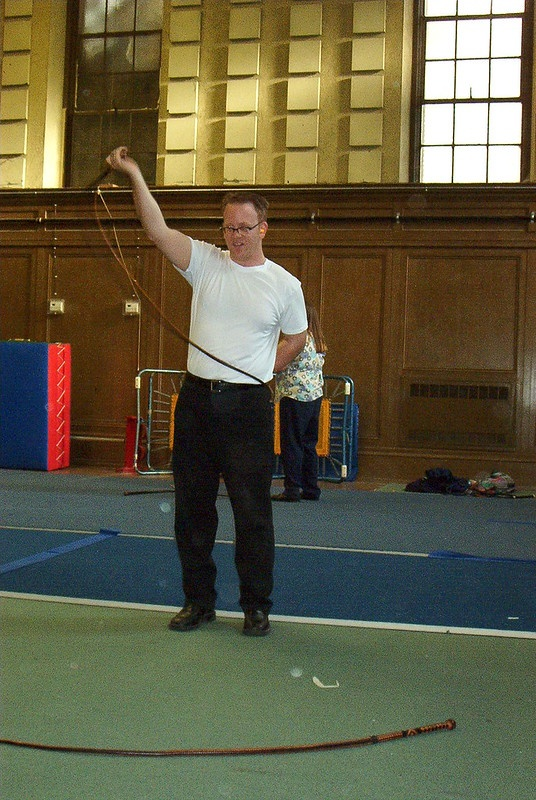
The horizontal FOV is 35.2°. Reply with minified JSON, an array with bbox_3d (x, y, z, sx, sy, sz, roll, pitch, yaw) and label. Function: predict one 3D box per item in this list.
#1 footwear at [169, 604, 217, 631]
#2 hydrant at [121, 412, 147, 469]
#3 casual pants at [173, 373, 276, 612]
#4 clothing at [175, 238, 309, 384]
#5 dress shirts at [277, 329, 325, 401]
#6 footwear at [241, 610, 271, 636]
[{"bbox_3d":[-0.238,0.702,2.729,0.052,0.058,0.142,3,-1,37],"label":"footwear"},{"bbox_3d":[-1.320,0.432,8.245,0.245,0.551,0.234,2,-1,-7],"label":"hydrant"},{"bbox_3d":[-0.153,0.303,2.800,0.358,0.726,0.176,2,-1,3],"label":"casual pants"},{"bbox_3d":[-0.133,-0.301,2.883,0.485,0.453,0.268,10,8,6],"label":"clothing"},{"bbox_3d":[0.217,-0.283,5.909,0.303,0.533,0.414,-3,3,24],"label":"dress shirts"},{"bbox_3d":[-0.038,0.703,2.662,0.079,0.071,0.093,2,0,-2],"label":"footwear"}]
